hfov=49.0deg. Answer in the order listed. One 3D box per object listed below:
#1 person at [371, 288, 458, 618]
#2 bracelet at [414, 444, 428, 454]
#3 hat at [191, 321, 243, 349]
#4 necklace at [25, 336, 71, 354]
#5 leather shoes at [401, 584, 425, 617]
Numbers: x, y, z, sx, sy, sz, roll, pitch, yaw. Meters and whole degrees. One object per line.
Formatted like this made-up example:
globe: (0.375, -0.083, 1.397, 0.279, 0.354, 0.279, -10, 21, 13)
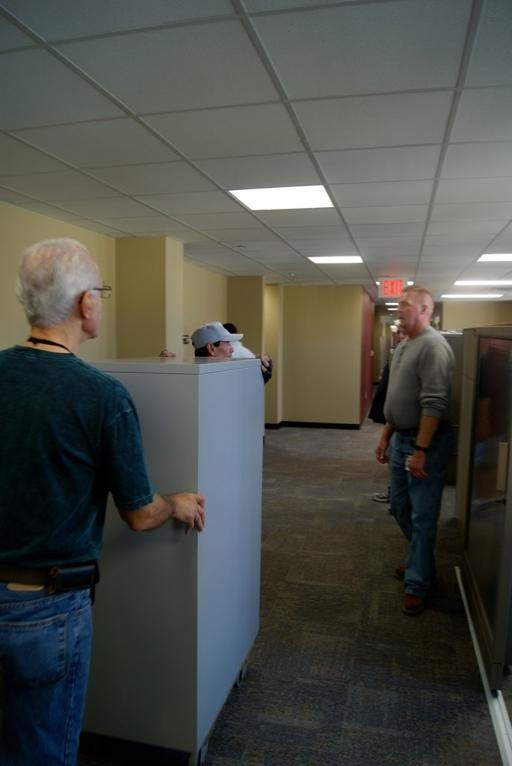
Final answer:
person: (0.856, 0.300, 2.952, 0.337, 1.660, 0.572, 0, 2, 4)
bracelet: (0.797, 0.313, 2.689, 0.048, 0.019, 0.047, 17, 3, -24)
hat: (-0.208, -0.231, 3.015, 0.222, 0.124, 0.143, -20, 5, 10)
necklace: (-0.430, -0.071, 1.133, 0.048, 0.013, 0.054, 19, 0, 40)
leather shoes: (0.786, 1.098, 2.795, 0.109, 0.097, 0.091, 0, 2, 6)
